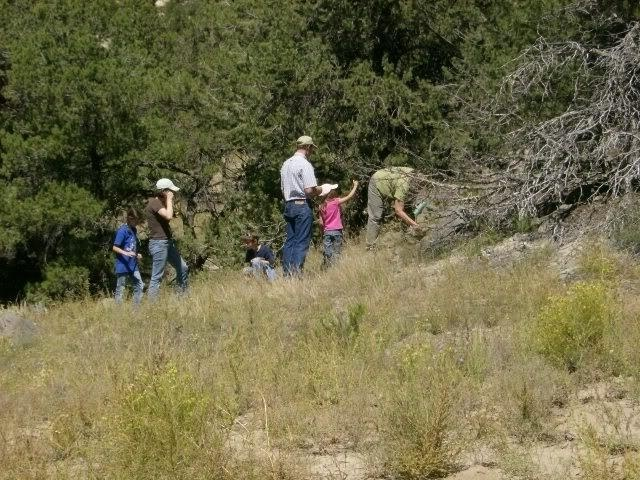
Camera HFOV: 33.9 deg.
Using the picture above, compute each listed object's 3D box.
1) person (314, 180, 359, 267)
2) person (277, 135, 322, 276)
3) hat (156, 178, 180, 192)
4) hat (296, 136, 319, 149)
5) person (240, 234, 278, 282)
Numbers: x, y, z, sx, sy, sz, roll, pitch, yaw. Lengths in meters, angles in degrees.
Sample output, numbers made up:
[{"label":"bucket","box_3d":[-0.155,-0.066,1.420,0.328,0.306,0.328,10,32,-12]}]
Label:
[{"label":"person","box_3d":[0.331,-0.377,20.390,0.627,1.976,0.462,1,31,8]},{"label":"person","box_3d":[-0.295,-0.598,19.412,0.640,2.706,0.821,-3,10,-26]},{"label":"hat","box_3d":[-2.811,-1.028,19.341,0.335,0.247,0.269,-3,9,-20]},{"label":"hat","box_3d":[-0.215,-1.771,19.349,0.345,0.282,0.247,-9,15,-37]},{"label":"person","box_3d":[-1.229,0.331,20.221,0.353,0.961,0.515,7,2,-5]}]
